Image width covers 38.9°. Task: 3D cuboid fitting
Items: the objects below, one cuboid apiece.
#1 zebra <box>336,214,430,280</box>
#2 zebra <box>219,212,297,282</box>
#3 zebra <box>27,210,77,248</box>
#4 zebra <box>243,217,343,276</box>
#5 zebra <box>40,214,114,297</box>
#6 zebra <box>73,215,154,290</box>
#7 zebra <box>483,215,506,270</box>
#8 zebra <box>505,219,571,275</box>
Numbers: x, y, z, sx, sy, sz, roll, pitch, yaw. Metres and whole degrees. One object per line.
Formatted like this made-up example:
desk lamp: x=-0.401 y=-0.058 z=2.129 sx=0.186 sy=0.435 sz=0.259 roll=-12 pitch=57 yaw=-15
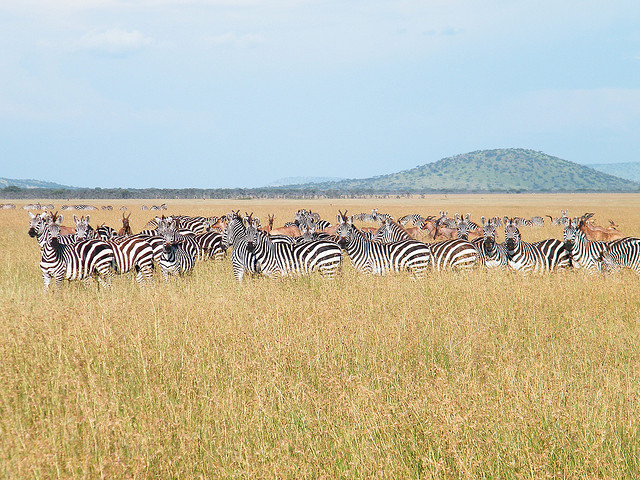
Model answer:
zebra: x=1.327 y=0.327 z=19.954 sx=2.199 sy=1.913 sz=0.672 roll=1 pitch=5 yaw=2
zebra: x=-1.568 y=0.306 z=20.104 sx=1.926 sy=1.457 sz=0.569 roll=11 pitch=15 yaw=-35
zebra: x=-6.078 y=-0.178 z=20.165 sx=0.404 sy=1.095 sz=1.487 roll=10 pitch=9 yaw=9
zebra: x=-0.582 y=0.207 z=19.093 sx=1.898 sy=1.052 sz=0.374 roll=1 pitch=8 yaw=7
zebra: x=-5.193 y=0.348 z=18.713 sx=0.696 sy=1.819 sz=2.204 roll=14 pitch=9 yaw=31
zebra: x=-4.569 y=0.363 z=19.811 sx=1.989 sy=1.591 sz=0.600 roll=4 pitch=-6 yaw=-37
zebra: x=3.832 y=0.126 z=19.850 sx=0.493 sy=1.206 sz=1.058 roll=1 pitch=9 yaw=10
zebra: x=4.739 y=0.134 z=19.862 sx=1.549 sy=1.203 sz=0.631 roll=-2 pitch=8 yaw=-12
